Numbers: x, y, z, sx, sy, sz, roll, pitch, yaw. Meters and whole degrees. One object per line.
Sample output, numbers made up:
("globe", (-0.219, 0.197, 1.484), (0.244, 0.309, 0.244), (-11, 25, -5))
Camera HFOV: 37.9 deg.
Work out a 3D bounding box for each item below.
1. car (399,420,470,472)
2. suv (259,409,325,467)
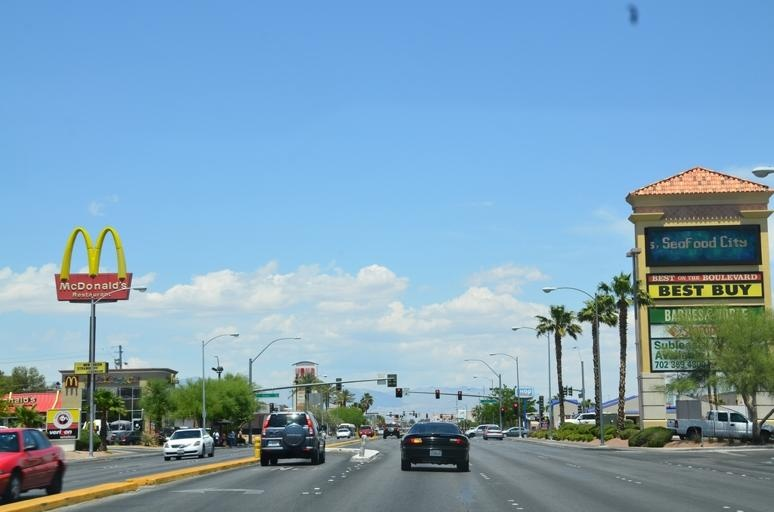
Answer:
("car", (2.780, 11.314, 66.001), (3.798, 3.050, 1.632), (-4, -14, 4))
("suv", (-5.891, 11.540, 70.399), (2.802, 2.951, 6.576), (-1, -8, -1))
